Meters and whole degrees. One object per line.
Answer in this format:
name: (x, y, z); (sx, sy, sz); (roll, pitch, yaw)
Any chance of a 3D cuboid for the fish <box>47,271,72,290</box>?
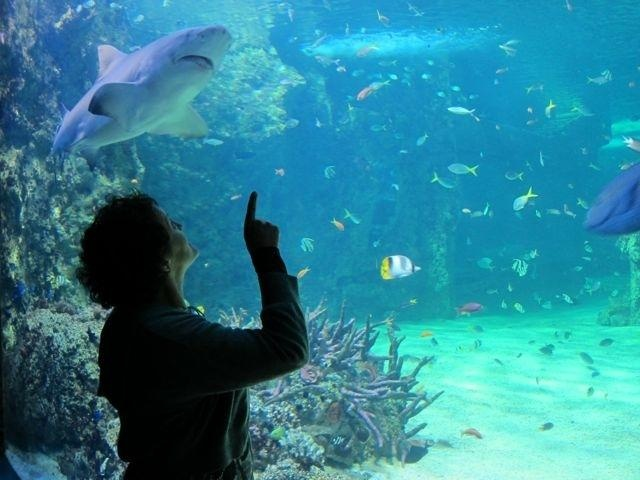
fish: (-6.489, 1.024, 15.244); (0.140, 0.339, 0.378); (-21, -35, 31)
